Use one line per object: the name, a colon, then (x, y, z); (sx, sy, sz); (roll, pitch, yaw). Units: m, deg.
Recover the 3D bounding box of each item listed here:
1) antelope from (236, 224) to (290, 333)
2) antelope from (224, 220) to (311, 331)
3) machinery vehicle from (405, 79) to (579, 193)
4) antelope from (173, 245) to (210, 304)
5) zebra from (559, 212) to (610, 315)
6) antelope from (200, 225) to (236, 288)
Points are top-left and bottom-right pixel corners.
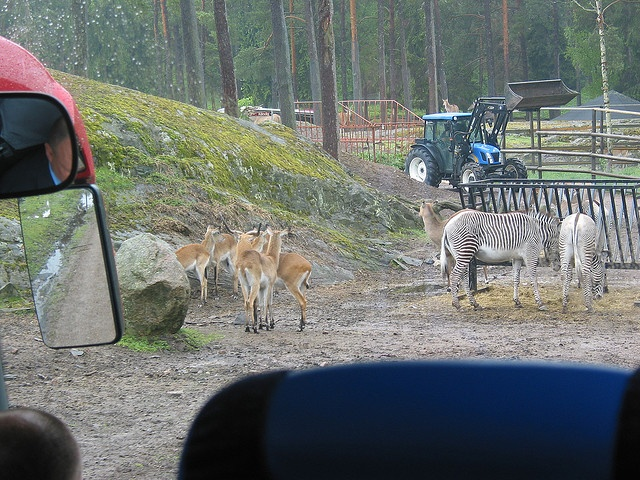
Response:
antelope: (-0.860, 0.603, 13.208); (0.597, 1.393, 0.612); (-1, 11, -15)
antelope: (-0.722, 0.555, 13.436); (0.935, 1.716, 0.980); (-2, 11, -12)
machinery vehicle: (5.055, -3.221, 27.796); (2.407, 3.936, 7.469); (-2, 13, -16)
antelope: (-2.124, 0.561, 15.020); (0.508, 1.072, 1.098); (1, 12, -3)
zebra: (4.228, 0.291, 14.322); (0.721, 1.496, 1.661); (5, 13, 19)
antelope: (-1.862, 0.317, 15.899); (0.391, 1.425, 1.590); (5, 2, 8)
